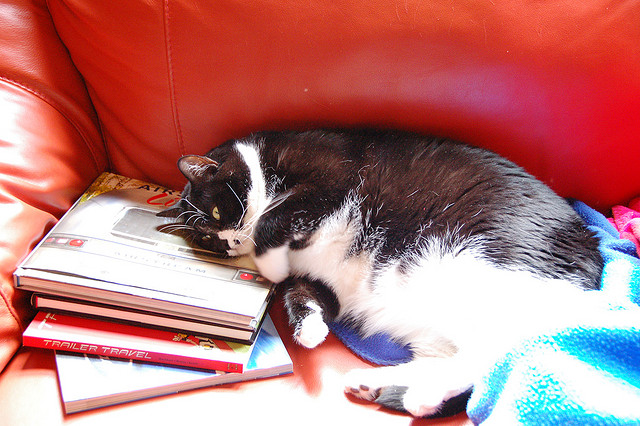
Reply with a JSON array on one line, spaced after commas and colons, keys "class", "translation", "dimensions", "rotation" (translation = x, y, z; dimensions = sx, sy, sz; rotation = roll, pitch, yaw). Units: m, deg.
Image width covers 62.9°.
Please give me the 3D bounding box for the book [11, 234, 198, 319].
[{"class": "book", "translation": [-0.572, 0.220, 1.421], "dimensions": [0.484, 0.089, 0.135], "rotation": [22, 32, 2]}]
